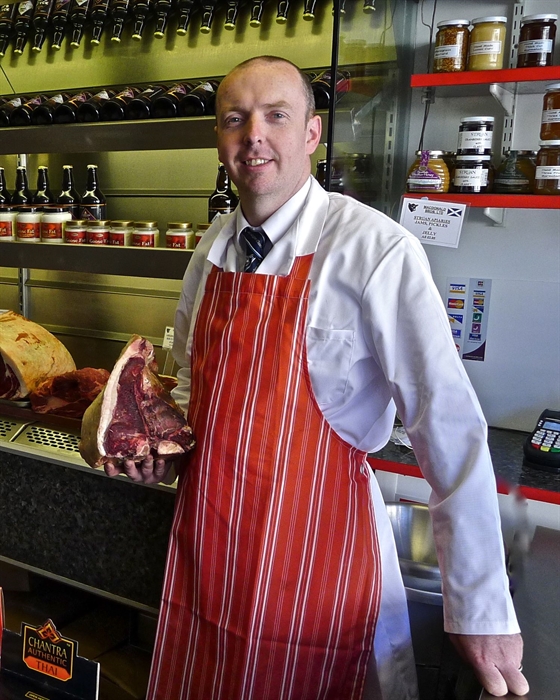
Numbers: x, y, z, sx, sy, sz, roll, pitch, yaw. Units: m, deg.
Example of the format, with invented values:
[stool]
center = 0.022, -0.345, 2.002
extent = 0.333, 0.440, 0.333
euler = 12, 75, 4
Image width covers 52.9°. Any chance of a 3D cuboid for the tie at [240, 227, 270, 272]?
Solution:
[tie]
center = -0.039, -0.177, 1.027
extent = 0.057, 0.084, 0.021
euler = 4, -7, 37
